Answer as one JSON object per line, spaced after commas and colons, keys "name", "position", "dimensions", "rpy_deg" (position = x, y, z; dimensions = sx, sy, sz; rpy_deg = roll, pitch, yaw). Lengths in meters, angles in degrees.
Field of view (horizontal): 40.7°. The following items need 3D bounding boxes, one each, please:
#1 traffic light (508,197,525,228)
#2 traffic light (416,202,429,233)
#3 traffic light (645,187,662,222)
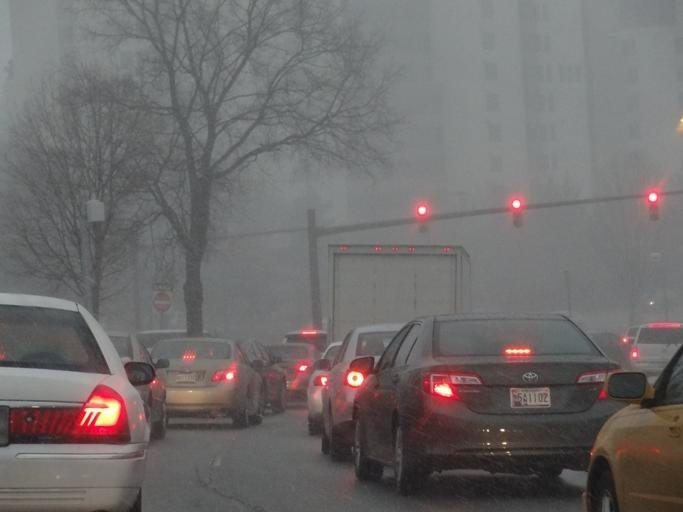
{"name": "traffic light", "position": [5.449, -1.296, 27.330], "dimensions": [0.524, 1.081, 2.191], "rpy_deg": [-5, -4, 11]}
{"name": "traffic light", "position": [2.611, -1.124, 27.572], "dimensions": [0.440, 0.938, 0.626], "rpy_deg": [-4, -3, 5]}
{"name": "traffic light", "position": [10.075, -1.600, 28.600], "dimensions": [0.484, 0.840, 1.443], "rpy_deg": [-5, -4, 20]}
